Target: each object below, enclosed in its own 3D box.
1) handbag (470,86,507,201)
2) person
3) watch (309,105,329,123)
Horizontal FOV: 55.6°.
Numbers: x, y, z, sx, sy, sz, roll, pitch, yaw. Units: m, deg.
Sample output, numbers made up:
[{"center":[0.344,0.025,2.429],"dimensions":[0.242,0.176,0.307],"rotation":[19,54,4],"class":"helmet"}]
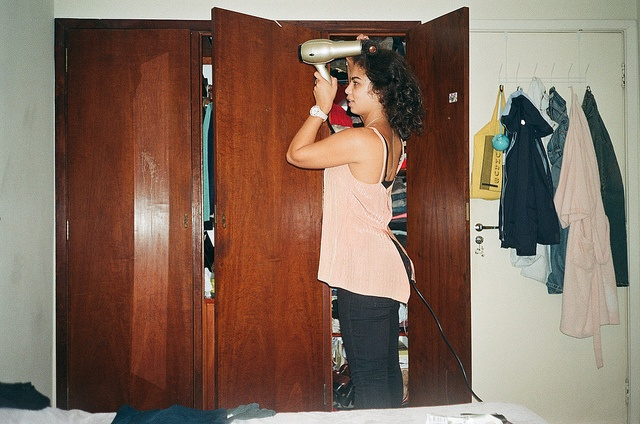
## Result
[{"center":[1.236,-0.510,4.510],"dimensions":[0.138,0.811,0.231],"rotation":[3,5,3],"class":"handbag"},{"center":[0.227,0.067,3.761],"dimensions":[0.693,2.222,0.438],"rotation":[3,5,22],"class":"person"},{"center":[0.010,-0.623,3.824],"dimensions":[0.113,0.075,0.114],"rotation":[14,23,-43],"class":"watch"}]
